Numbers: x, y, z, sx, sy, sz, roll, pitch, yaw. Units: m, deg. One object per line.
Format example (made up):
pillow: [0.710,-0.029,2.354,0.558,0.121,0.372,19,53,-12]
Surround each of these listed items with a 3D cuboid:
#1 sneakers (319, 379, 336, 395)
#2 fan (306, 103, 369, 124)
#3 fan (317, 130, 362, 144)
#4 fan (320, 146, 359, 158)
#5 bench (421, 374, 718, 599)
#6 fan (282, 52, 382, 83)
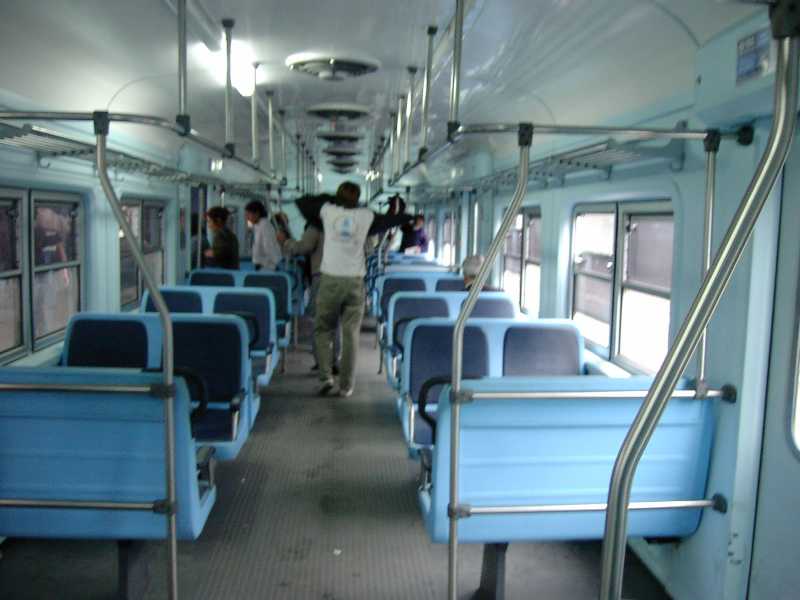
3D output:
sneakers: [-0.775,0.927,7.285,0.102,0.067,0.189,8,-30,-29]
fan: [-0.682,-2.055,7.505,0.688,0.121,0.753,0,12,-7]
fan: [-0.834,-2.200,9.316,0.578,0.124,1.018,0,12,-6]
fan: [-0.934,-2.348,10.955,0.619,0.135,1.316,1,12,-5]
bench: [0.784,0.754,3.907,1.146,1.247,1.200,0,7,-5]
fan: [-0.583,-1.970,5.827,0.800,0.148,0.585,0,12,-7]
